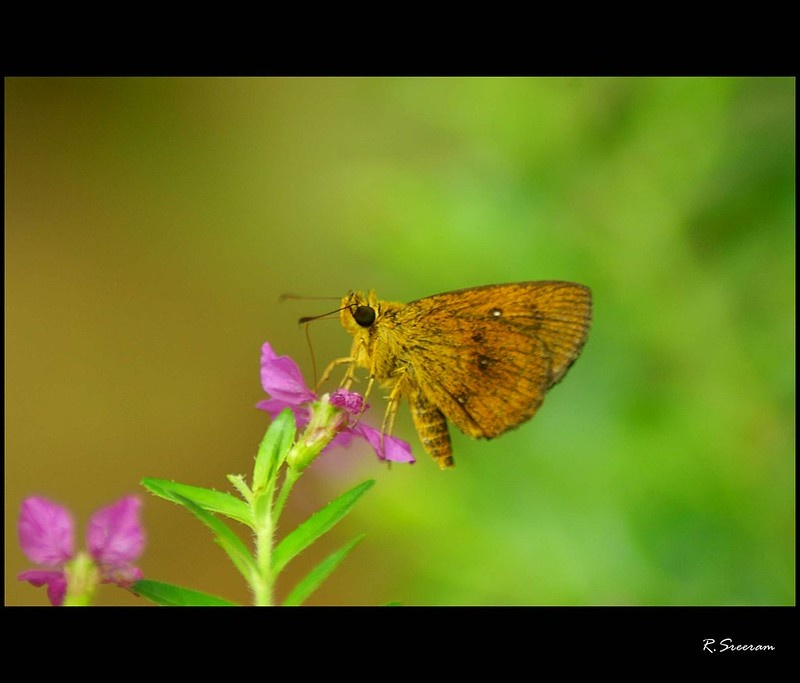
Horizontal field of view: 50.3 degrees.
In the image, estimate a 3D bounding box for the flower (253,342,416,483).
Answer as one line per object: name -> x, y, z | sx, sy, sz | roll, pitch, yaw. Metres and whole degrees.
flower -> -0.225, 0.144, 2.975 | 0.435, 0.437, 0.273 | 23, -81, -8
